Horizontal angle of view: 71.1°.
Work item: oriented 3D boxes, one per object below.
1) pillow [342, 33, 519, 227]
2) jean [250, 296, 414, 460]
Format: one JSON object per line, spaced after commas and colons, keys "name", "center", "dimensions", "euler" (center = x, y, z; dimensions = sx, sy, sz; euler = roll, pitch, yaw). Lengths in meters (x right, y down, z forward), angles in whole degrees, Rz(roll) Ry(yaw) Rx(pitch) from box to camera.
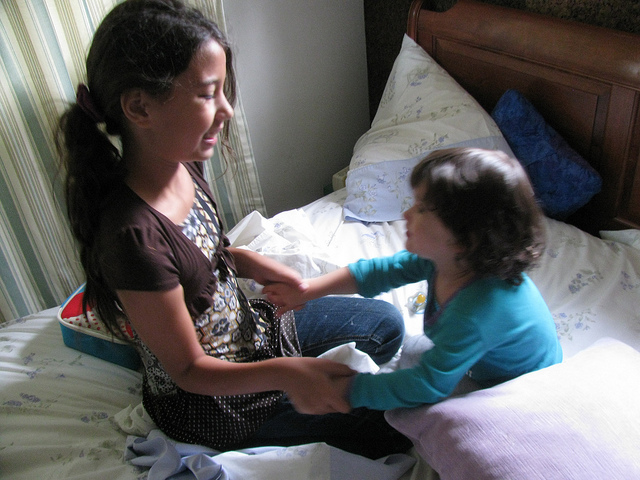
{"name": "pillow", "center": [0.507, -0.392, 2.102], "dimensions": [0.231, 0.775, 0.759], "euler": [6, 33, -42]}
{"name": "jean", "center": [0.039, 0.368, 1.278], "dimensions": [0.413, 0.223, 0.442], "euler": [1, 31, 1]}
